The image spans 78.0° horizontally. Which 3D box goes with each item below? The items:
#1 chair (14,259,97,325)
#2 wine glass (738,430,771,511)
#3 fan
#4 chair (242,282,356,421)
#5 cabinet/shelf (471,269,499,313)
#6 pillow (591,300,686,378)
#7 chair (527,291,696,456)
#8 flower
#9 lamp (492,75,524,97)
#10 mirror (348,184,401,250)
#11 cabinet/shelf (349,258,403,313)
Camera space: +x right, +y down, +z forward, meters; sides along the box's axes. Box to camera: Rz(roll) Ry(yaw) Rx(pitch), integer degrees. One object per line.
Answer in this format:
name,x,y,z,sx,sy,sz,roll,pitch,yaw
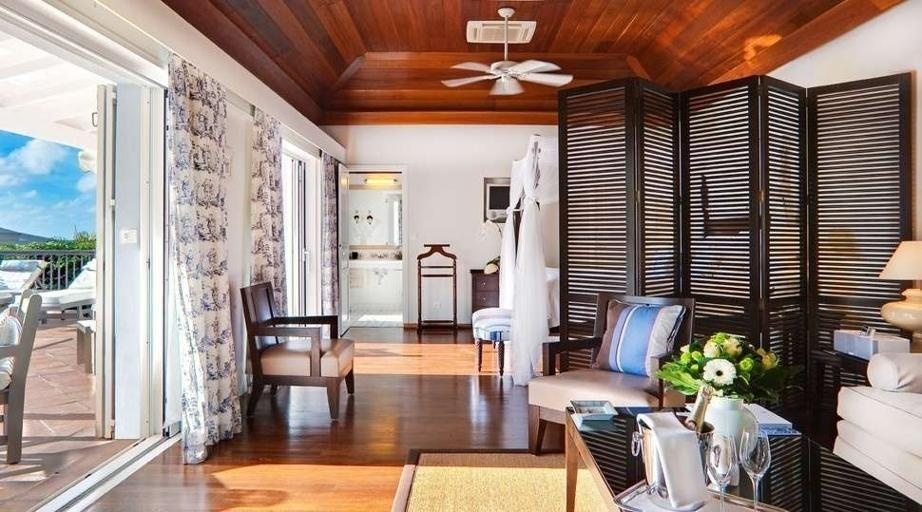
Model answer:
chair,-5.365,0.469,8.188,0.736,0.696,1.218,5,-14,12
wine glass,2.061,1.483,4.012,0.177,0.571,0.370,1,-1,26
fan,0.655,-2.581,7.261,1.296,0.907,1.610,1,-1,-1
chair,-1.763,1.017,6.420,1.330,1.242,1.157,1,5,-22
cabinet/shelf,0.479,0.590,9.614,0.568,0.726,0.293,2,26,6
pillow,1.731,0.790,5.514,0.435,0.637,0.809,-6,3,-39
chair,1.472,1.105,5.348,1.363,1.257,1.124,-7,6,-41
flower,1.904,0.793,4.103,0.910,0.327,0.220,1,-1,16
lamp,0.585,-2.118,7.023,0.383,0.153,0.352,1,-1,3
mirror,-1.528,-0.781,10.495,1.371,1.297,0.065,0,3,1
cabinet/shelf,-1.569,0.520,10.753,1.216,0.997,0.610,0,-1,1
